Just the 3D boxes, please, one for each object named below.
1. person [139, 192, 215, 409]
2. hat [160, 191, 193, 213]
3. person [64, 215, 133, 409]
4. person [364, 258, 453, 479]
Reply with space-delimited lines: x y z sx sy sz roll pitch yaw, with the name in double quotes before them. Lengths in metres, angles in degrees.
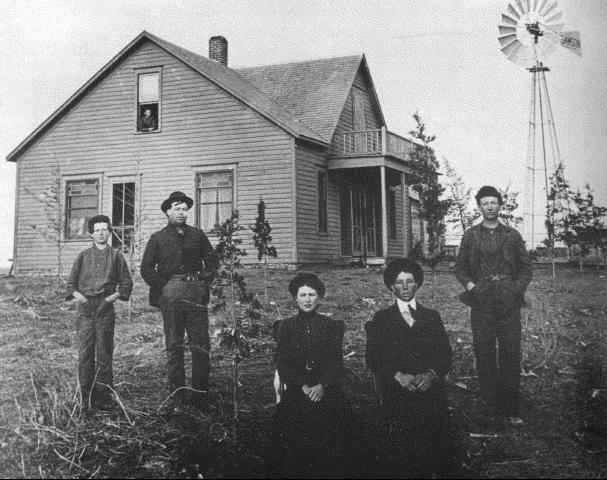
"person" -1.129 0.530 5.461 0.672 1.954 0.321 -1 -2 -9
"hat" -1.209 -0.356 5.617 0.225 0.097 0.206 -24 -21 29
"person" -1.876 0.793 5.474 0.566 1.526 0.161 -1 -2 7
"person" 0.946 1.125 5.392 0.761 1.875 0.447 -1 -2 10
